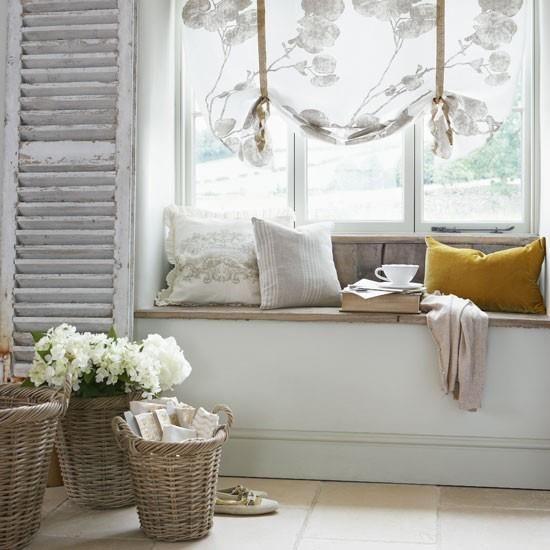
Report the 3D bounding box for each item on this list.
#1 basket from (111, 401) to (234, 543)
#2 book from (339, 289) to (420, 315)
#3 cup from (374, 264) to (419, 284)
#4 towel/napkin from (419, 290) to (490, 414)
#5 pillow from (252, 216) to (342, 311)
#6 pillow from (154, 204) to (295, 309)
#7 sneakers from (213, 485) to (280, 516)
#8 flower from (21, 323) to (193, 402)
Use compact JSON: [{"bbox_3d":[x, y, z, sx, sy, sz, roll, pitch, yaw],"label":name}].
[{"bbox_3d":[-0.321,0.608,2.000,0.428,0.429,0.366,3,-11,-26],"label":"basket"},{"bbox_3d":[0.417,0.106,2.408,0.304,0.082,0.075,1,4,8],"label":"book"},{"bbox_3d":[0.510,-0.002,2.458,0.112,0.063,0.133,-1,-1,-32],"label":"cup"},{"bbox_3d":[0.670,0.296,2.310,0.236,0.389,0.187,1,4,12],"label":"towel/napkin"},{"bbox_3d":[0.098,-0.045,2.672,0.433,0.399,0.163,0,-8,-40],"label":"pillow"},{"bbox_3d":[-0.278,-0.067,2.759,0.565,0.138,0.571,24,48,9],"label":"pillow"},{"bbox_3d":[-0.105,0.780,2.125,0.157,0.050,0.090,0,0,3],"label":"sneakers"},{"bbox_3d":[-0.466,0.300,2.118,0.384,0.169,0.223,-2,11,30],"label":"flower"}]
